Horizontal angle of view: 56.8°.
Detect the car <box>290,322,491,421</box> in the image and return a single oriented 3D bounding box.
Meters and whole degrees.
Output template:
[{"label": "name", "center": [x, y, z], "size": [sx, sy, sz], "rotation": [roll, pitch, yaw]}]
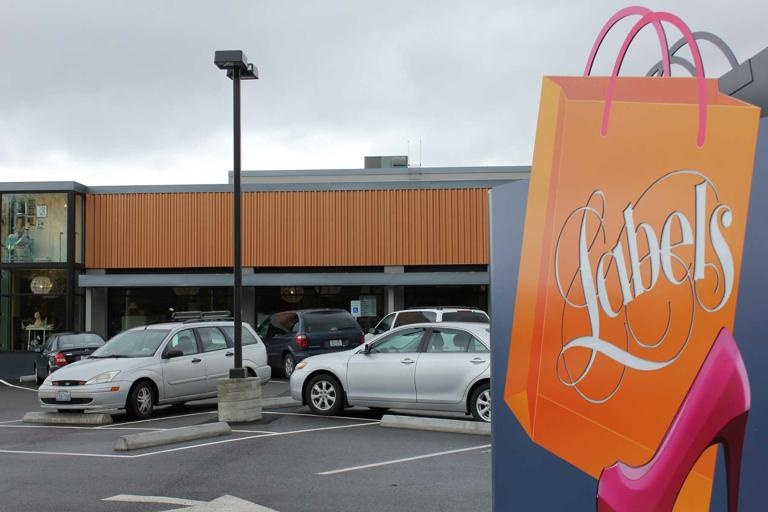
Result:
[{"label": "car", "center": [0.240, 2.076, 13.508], "size": [3.942, 1.438, 1.653], "rotation": [1, -5, 20]}]
